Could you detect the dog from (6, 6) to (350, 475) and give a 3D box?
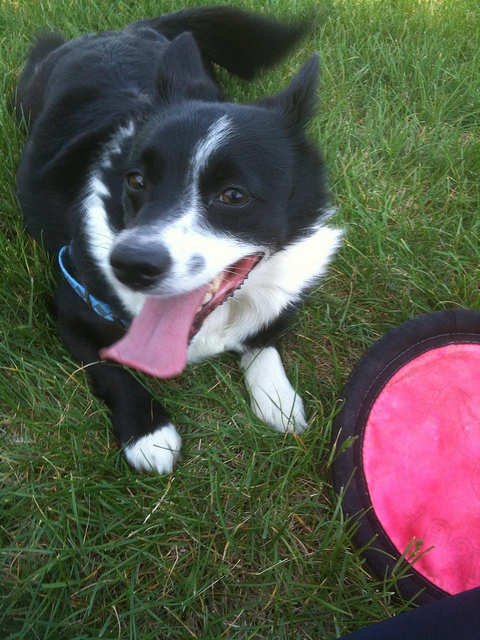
[{"bbox_3d":[-0.167,-0.492,2.138,1.087,0.946,1.839,-1,44,-7],"label":"dog"}]
